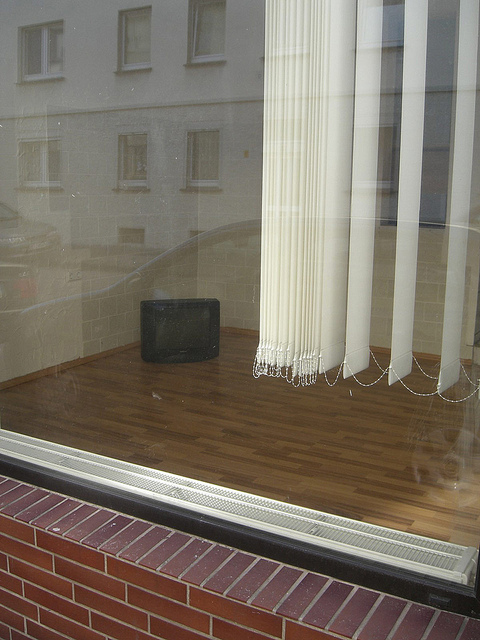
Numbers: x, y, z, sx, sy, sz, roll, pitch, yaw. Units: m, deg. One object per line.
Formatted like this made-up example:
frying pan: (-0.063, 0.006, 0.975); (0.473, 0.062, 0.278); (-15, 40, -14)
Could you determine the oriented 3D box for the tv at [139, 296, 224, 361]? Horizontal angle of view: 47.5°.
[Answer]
tv: (-0.160, 0.021, 1.396); (0.280, 0.181, 0.045); (7, 14, 32)
